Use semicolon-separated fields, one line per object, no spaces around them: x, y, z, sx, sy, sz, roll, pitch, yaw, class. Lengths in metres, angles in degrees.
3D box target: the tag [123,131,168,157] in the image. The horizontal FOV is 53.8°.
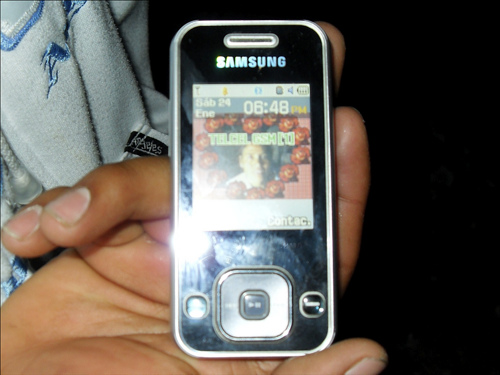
-0.296;-0.120;1.376;0.089;0.026;0.077;13;76;-7;tag
